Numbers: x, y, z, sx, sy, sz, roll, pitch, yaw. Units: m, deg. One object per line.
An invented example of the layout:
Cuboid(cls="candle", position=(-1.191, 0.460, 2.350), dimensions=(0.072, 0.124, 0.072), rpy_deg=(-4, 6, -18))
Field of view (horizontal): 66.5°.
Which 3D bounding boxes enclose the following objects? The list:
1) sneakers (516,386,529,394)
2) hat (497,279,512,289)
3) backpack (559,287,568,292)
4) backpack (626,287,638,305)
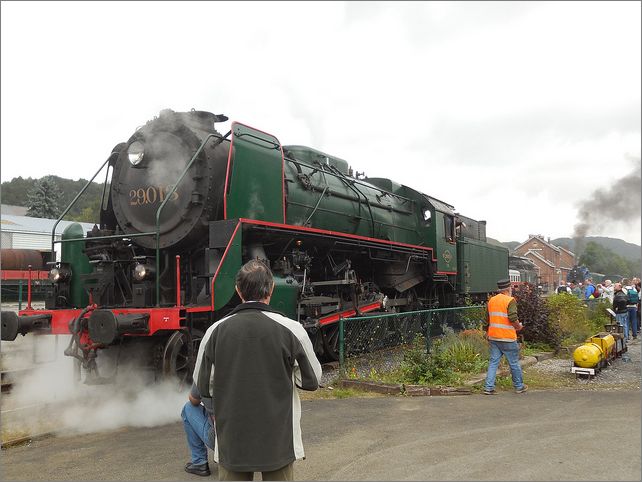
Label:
Cuboid(cls="sneakers", position=(3.729, 2.754, 9.059), dimensions=(0.276, 0.132, 0.103), rpy_deg=(-10, 10, -44))
Cuboid(cls="hat", position=(3.479, 0.820, 9.328), dimensions=(0.178, 0.138, 0.239), rpy_deg=(-7, 1, 5))
Cuboid(cls="backpack", position=(9.539, 1.917, 19.256), dimensions=(0.252, 0.249, 0.256), rpy_deg=(1, -1, -23))
Cuboid(cls="backpack", position=(10.109, 1.792, 15.831), dimensions=(0.246, 0.580, 0.458), rpy_deg=(0, -1, 41))
